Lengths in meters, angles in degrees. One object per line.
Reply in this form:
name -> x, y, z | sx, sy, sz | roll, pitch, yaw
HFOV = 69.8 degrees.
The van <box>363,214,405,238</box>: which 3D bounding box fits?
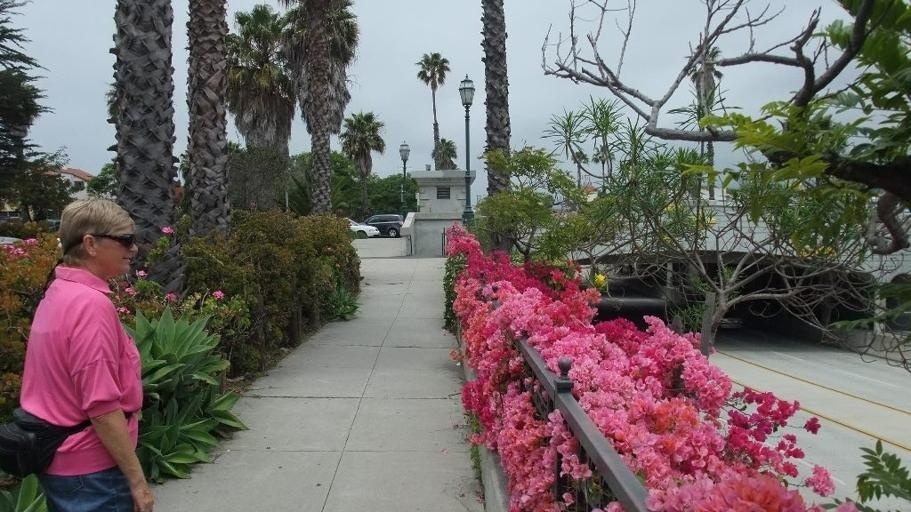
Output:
van -> -5.459, -2.218, 47.601 | 3.137, 1.513, 1.734 | 4, 3, 7
